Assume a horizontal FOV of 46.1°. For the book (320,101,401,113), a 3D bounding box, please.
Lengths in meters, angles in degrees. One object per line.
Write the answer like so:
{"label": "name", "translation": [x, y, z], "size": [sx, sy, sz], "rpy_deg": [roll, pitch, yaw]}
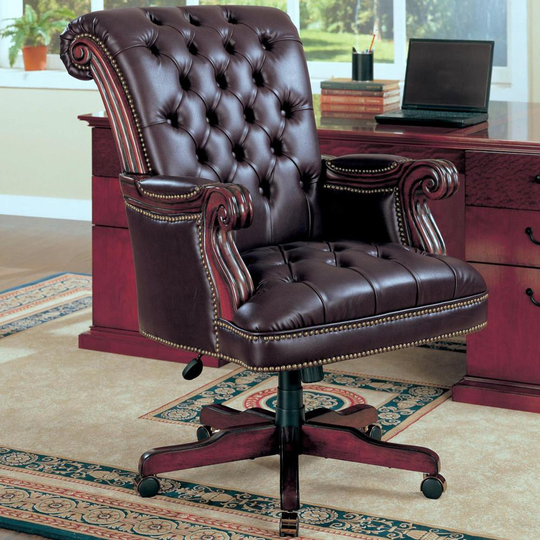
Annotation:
{"label": "book", "translation": [0.302, -0.580, 2.275], "size": [0.159, 0.023, 0.103], "rpy_deg": [5, 10, 26]}

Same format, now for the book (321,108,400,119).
{"label": "book", "translation": [0.318, -0.538, 2.190], "size": [0.146, 0.018, 0.128], "rpy_deg": [3, 8, 20]}
